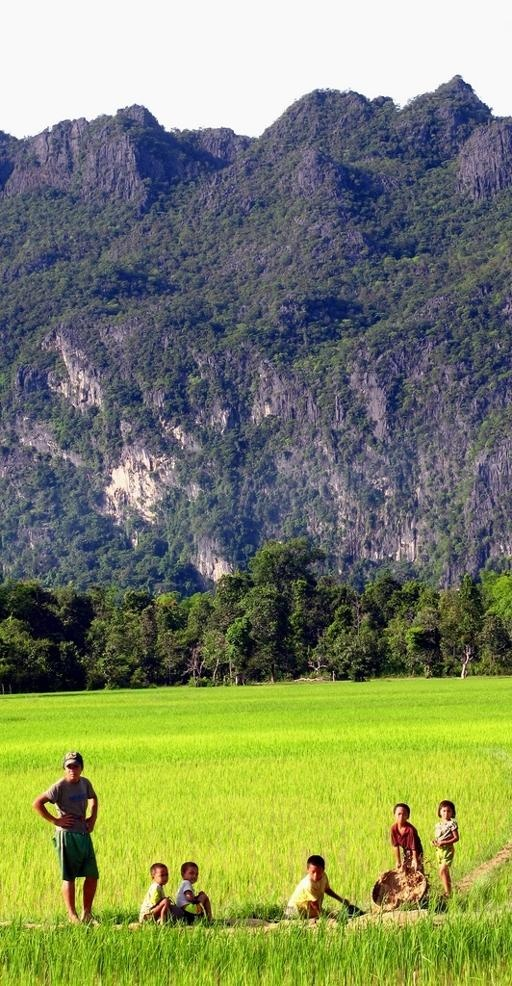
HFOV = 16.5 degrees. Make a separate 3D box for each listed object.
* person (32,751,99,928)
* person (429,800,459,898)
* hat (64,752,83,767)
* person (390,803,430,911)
[{"bbox_3d":[-2.054,3.946,20.076,0.614,2.063,0.408,-7,11,-24],"label":"person"},{"bbox_3d":[2.253,4.291,21.284,0.294,1.092,1.337,-1,-6,5],"label":"person"},{"bbox_3d":[-2.051,3.040,20.087,0.139,0.161,0.269,1,-19,0],"label":"hat"},{"bbox_3d":[1.757,4.224,20.584,0.417,1.126,0.722,-1,-5,5],"label":"person"}]
